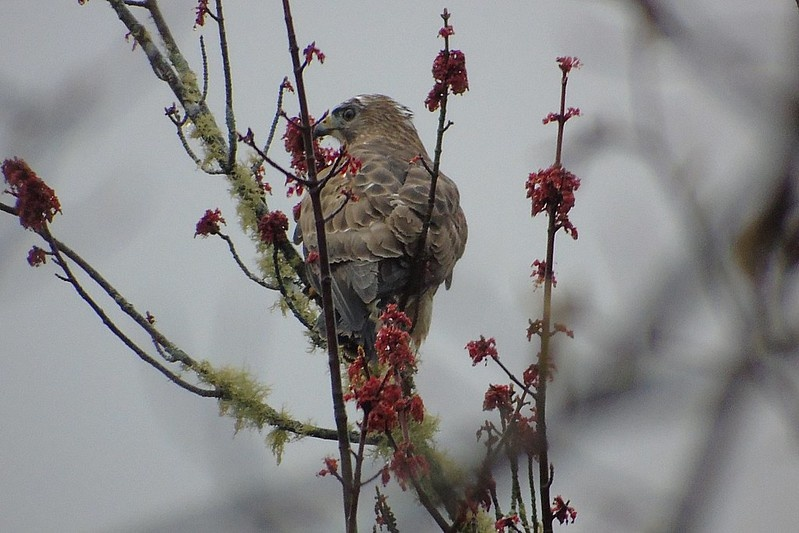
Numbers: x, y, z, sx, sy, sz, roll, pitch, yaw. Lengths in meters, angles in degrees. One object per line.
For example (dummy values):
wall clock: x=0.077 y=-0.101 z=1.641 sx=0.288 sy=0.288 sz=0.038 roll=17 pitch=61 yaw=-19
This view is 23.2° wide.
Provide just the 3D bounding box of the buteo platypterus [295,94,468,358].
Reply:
buteo platypterus: x=-0.079 y=-0.193 z=8.429 sx=0.616 sy=1.229 sz=0.924 roll=6 pitch=-13 yaw=-10
